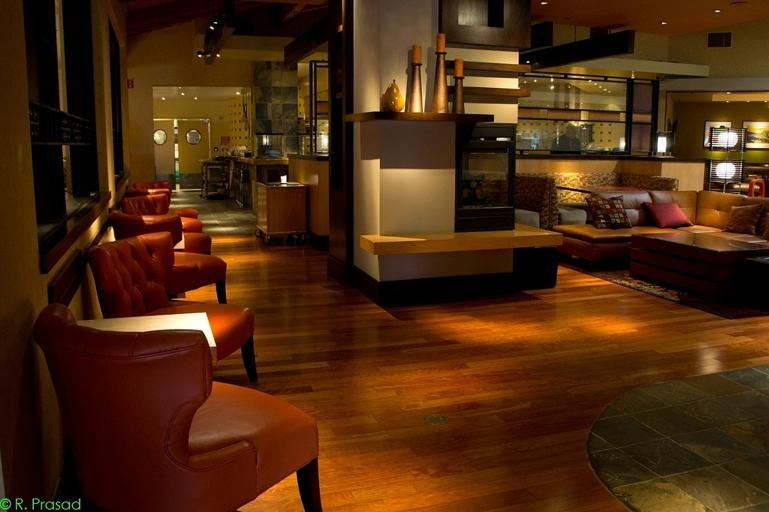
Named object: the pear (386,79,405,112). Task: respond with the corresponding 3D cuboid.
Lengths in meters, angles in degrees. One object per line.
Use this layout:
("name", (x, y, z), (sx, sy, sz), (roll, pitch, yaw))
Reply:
("pear", (0.090, -1.663, 5.745), (0.193, 0.299, 0.184), (3, 14, 13))

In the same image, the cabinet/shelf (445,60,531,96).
("cabinet/shelf", (1.189, -1.994, 6.217), (1.056, 0.388, 0.241), (-5, 15, -21))
